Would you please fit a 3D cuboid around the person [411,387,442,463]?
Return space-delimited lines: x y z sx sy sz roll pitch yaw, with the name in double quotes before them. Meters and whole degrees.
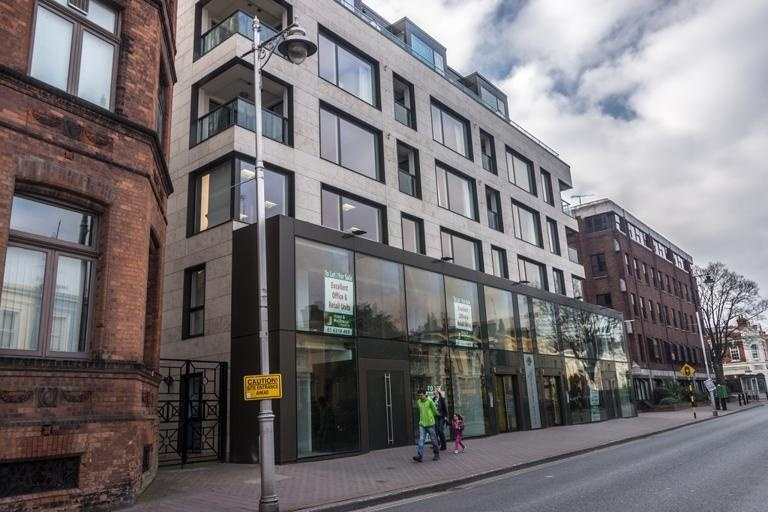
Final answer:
"person" 1.420 5.720 16.780 0.723 2.300 1.289 -15 -23 26

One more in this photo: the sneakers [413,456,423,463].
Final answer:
"sneakers" 1.102 6.656 16.188 0.289 0.192 0.324 -5 -20 1
